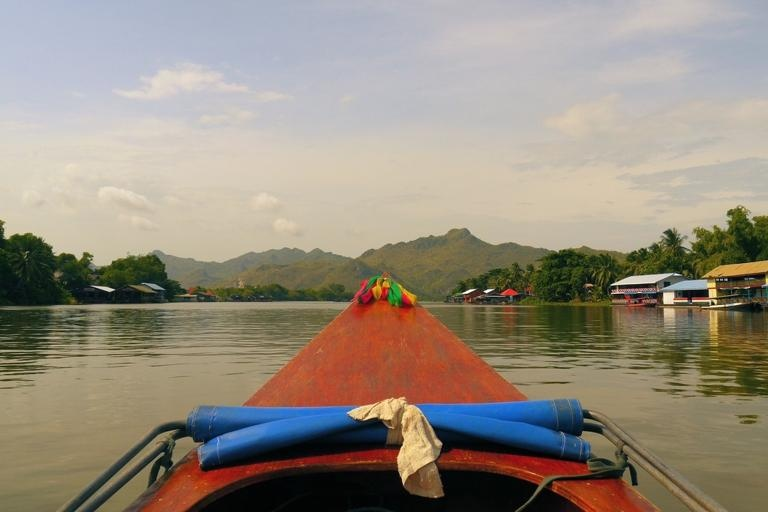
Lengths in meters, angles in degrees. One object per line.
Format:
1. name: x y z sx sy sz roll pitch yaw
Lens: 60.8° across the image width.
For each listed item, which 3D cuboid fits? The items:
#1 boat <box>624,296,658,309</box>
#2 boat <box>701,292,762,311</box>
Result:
1. boat: 30.468 5.488 77.870 1.589 1.511 4.883 4 -10 1
2. boat: 29.125 3.845 54.826 5.437 1.169 1.527 0 -3 -14
